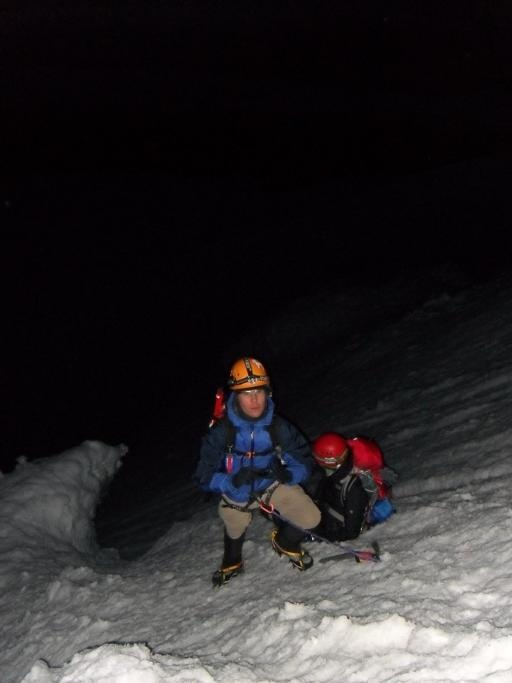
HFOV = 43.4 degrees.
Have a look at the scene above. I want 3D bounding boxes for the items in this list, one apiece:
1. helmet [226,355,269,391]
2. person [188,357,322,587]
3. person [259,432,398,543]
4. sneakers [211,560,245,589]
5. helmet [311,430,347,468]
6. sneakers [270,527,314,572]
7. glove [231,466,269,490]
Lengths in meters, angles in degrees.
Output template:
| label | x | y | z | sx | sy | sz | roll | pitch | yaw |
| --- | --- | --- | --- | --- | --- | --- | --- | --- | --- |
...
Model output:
| label | x | y | z | sx | sy | sz | roll | pitch | yaw |
| --- | --- | --- | --- | --- | --- | --- | --- | --- | --- |
| helmet | -0.069 | 0.277 | 5.495 | 0.353 | 0.290 | 0.318 | -6 | -5 | -1 |
| person | 0.003 | 1.107 | 5.546 | 1.010 | 1.942 | 0.604 | -7 | -4 | 2 |
| person | 0.843 | 1.326 | 5.785 | 0.877 | 1.010 | 0.769 | -10 | 18 | 3 |
| sneakers | -0.198 | 2.043 | 5.697 | 0.346 | 0.153 | 0.119 | -13 | 2 | -34 |
| helmet | 0.643 | 0.929 | 5.513 | 0.252 | 0.240 | 0.311 | -14 | -13 | -28 |
| sneakers | 0.342 | 1.840 | 5.695 | 0.174 | 0.204 | 0.485 | -6 | -2 | -33 |
| glove | -0.037 | 1.121 | 5.329 | 0.217 | 0.088 | 0.153 | -9 | 2 | -42 |
